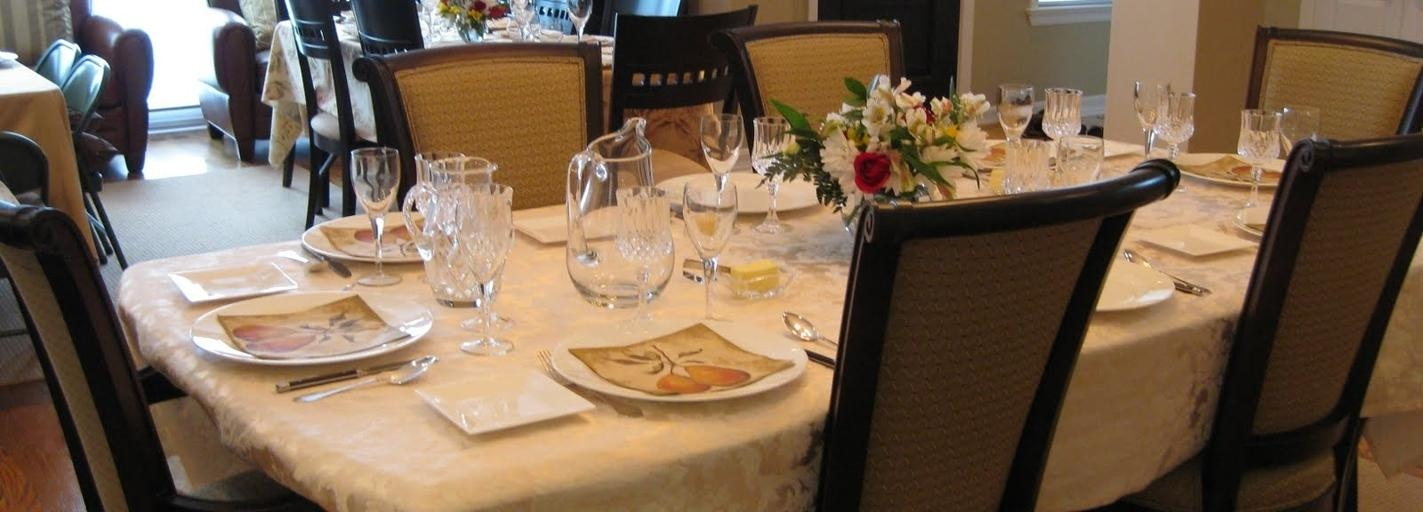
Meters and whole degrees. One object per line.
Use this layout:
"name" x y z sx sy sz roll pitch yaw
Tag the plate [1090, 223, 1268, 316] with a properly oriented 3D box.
"plate" 2.069 0.091 3.875 0.492 0.077 0.657 23 35 36
